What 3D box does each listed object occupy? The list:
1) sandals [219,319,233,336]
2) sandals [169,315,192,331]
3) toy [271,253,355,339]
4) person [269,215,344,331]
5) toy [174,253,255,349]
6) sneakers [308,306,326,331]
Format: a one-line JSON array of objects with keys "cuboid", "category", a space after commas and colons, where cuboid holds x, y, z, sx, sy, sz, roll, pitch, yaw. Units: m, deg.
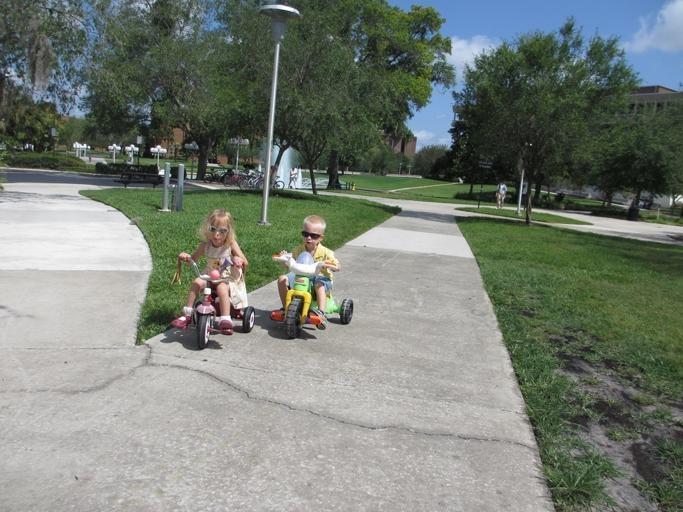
[{"cuboid": [-1.198, 0.738, 5.405, 0.078, 0.091, 0.199, 0, -30, -12], "category": "sandals"}, {"cuboid": [-1.649, 0.692, 5.407, 0.146, 0.093, 0.217, 6, -3, 10], "category": "sandals"}, {"cuboid": [-0.338, 0.438, 6.250, 0.792, 0.929, 1.357, 5, 4, 15], "category": "toy"}, {"cuboid": [-0.417, 0.174, 5.995, 0.742, 1.309, 0.848, 0, 7, -25], "category": "person"}, {"cuboid": [-1.386, 0.454, 5.561, 0.555, 0.867, 0.848, 7, 11, 24], "category": "toy"}, {"cuboid": [-0.270, 0.749, 6.022, 0.106, 0.140, 0.318, 1, -29, 16], "category": "sneakers"}]
